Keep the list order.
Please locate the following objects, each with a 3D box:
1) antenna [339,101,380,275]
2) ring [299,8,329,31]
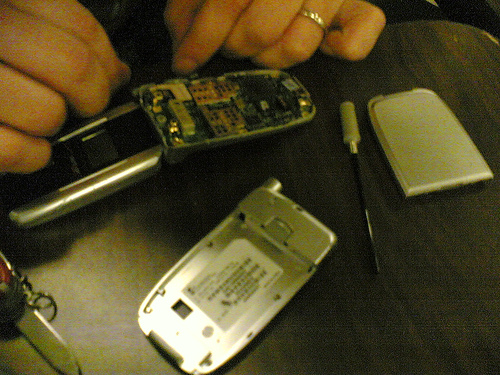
[{"bbox_3d":[0.206,-0.010,0.885,0.037,0.358,0.038,-7,-22,0],"label":"antenna"},{"bbox_3d":[0.139,-0.368,0.948,0.050,0.012,0.039,37,2,-30],"label":"ring"}]
